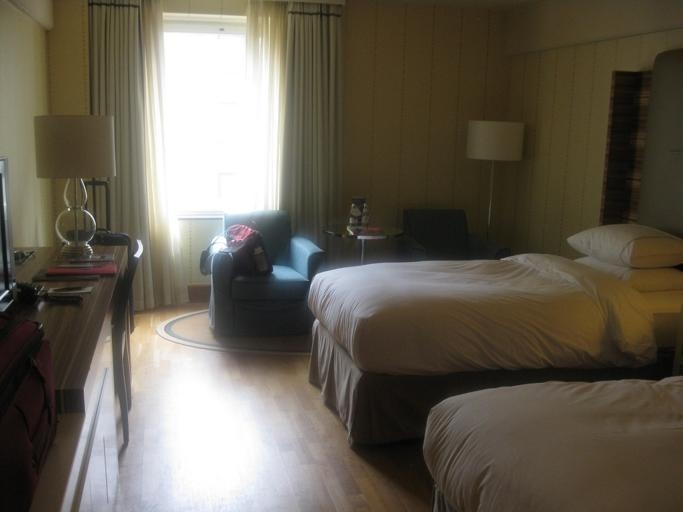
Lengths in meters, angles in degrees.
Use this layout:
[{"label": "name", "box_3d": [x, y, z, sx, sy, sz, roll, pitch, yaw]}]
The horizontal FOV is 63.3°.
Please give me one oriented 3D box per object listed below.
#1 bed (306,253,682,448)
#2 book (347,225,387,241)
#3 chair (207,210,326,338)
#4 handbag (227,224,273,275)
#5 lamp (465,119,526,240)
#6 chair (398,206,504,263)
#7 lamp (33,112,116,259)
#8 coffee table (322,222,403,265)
[{"label": "bed", "box_3d": [0.752, 0.448, 3.320, 1.323, 0.686, 1.420, -4, 4, -14]}, {"label": "book", "box_3d": [0.220, -0.193, 4.901, 0.348, 0.104, 0.469, 2, 14, 1]}, {"label": "chair", "box_3d": [-0.711, 0.135, 5.080, 0.941, 1.052, 1.087, 0, 3, -8]}, {"label": "handbag", "box_3d": [-0.766, -0.048, 4.624, 0.361, 0.420, 0.151, -4, 9, 10]}, {"label": "lamp", "box_3d": [1.544, -0.764, 5.660, 0.537, 1.214, 0.590, 10, 16, 32]}, {"label": "chair", "box_3d": [0.977, -0.231, 5.523, 0.694, 0.810, 0.553, 0, -3, -11]}, {"label": "lamp", "box_3d": [-1.730, -0.481, 3.662, 0.458, 0.893, 1.523, -5, 16, -26]}, {"label": "coffee table", "box_3d": [0.210, -0.212, 4.924, 0.444, 0.359, 0.471, 3, 7, 22]}]
